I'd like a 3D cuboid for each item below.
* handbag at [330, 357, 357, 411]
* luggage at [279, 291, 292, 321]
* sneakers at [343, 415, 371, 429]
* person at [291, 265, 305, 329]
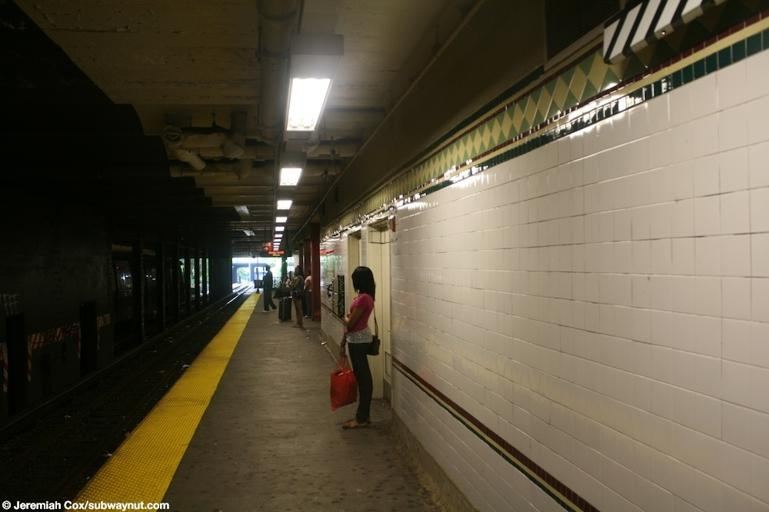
[{"bbox_3d":[-0.465,1.512,5.823,0.284,0.738,0.587,-1,3,-4],"label":"handbag"},{"bbox_3d":[-2.958,1.517,14.884,0.328,0.841,0.487,-2,3,-19],"label":"luggage"},{"bbox_3d":[-0.308,1.852,5.668,0.347,0.147,0.193,-2,3,-12],"label":"sneakers"},{"bbox_3d":[-2.487,1.100,14.329,0.340,1.615,1.988,-1,3,-11],"label":"person"}]
